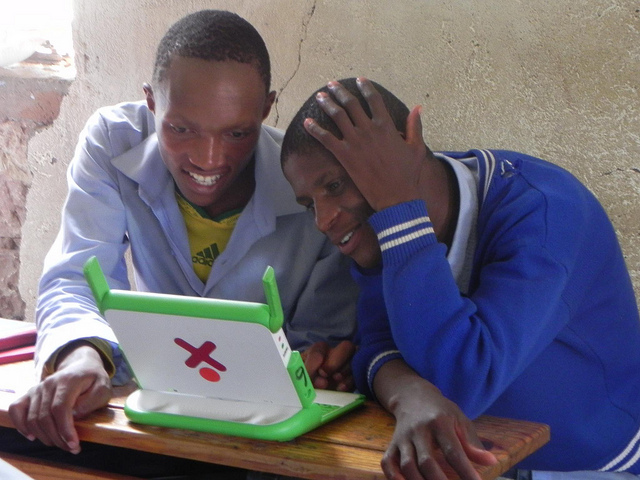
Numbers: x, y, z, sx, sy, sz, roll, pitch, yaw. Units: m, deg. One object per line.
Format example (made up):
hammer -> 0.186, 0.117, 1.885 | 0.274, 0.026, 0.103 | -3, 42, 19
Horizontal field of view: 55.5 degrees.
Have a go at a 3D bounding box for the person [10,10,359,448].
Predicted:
person -> -0.411, -0.042, 1.944 | 0.887, 1.209, 0.898 | 4, 27, -11

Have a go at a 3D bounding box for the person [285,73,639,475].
person -> 0.418, 0.152, 2.033 | 0.929, 0.923, 1.260 | -13, 81, -21

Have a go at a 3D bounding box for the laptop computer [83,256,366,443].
laptop computer -> -0.201, 0.206, 1.348 | 0.448, 0.347, 0.470 | 3, 10, 26
